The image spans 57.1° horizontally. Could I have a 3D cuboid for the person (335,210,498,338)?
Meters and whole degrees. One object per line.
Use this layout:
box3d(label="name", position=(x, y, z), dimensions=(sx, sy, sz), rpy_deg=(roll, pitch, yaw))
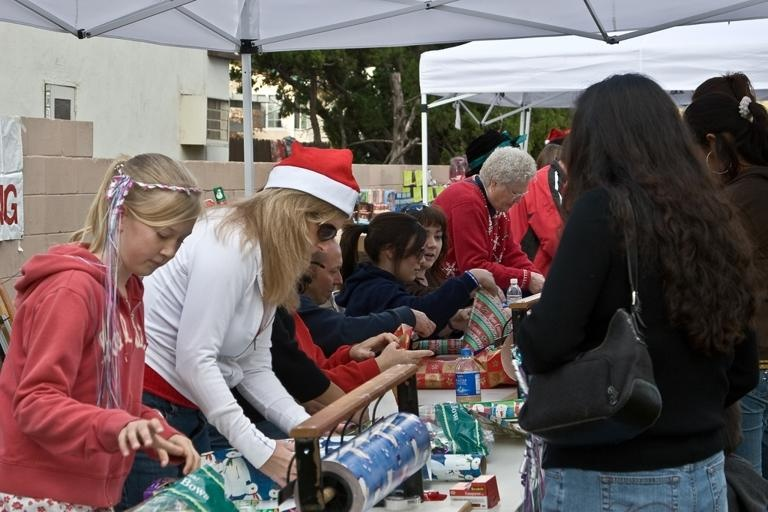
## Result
box3d(label="person", position=(0.210, 0.194, 4.521), dimensions=(0.988, 0.929, 0.789), rpy_deg=(0, 6, 3))

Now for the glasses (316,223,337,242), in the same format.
box3d(label="glasses", position=(-0.224, -0.097, 2.814), dimensions=(0.067, 0.023, 0.067), rpy_deg=(33, 16, 27))

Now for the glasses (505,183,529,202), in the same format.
box3d(label="glasses", position=(0.978, -0.478, 5.240), dimensions=(0.101, 0.148, 0.084), rpy_deg=(-16, 52, -19))

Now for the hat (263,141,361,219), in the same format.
box3d(label="hat", position=(-0.263, -0.334, 2.905), dimensions=(0.358, 0.239, 0.248), rpy_deg=(13, 6, -30))

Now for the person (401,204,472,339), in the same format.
box3d(label="person", position=(0.343, 0.136, 4.735), dimensions=(0.265, 0.773, 0.584), rpy_deg=(-10, -30, 21))
